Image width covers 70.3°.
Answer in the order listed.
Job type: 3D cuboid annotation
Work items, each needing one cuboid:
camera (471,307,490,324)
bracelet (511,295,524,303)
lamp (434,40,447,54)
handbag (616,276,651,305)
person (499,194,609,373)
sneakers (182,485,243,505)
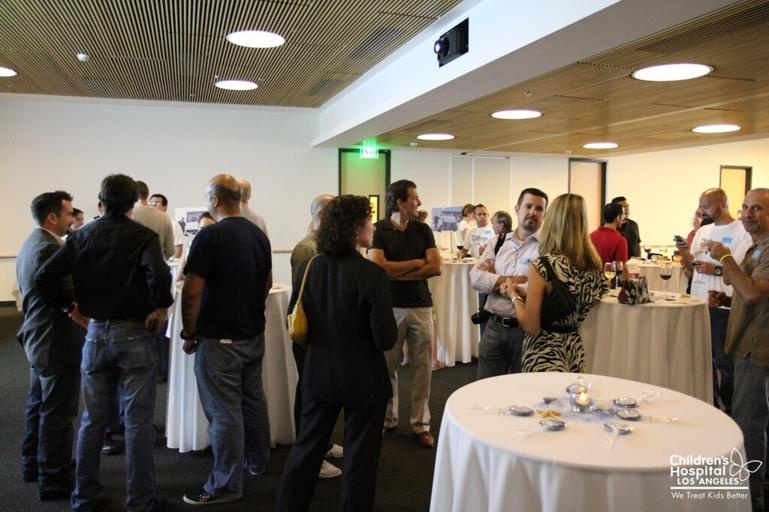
[{"bbox_3d":[0.754,0.500,4.429,0.159,0.095,0.059,-18,-4,32],"label":"camera"},{"bbox_3d":[0.941,0.300,3.864,0.070,0.038,0.080,0,4,4],"label":"bracelet"},{"bbox_3d":[0.590,-2.183,5.769,0.055,0.153,0.196,-1,3,-28],"label":"lamp"},{"bbox_3d":[2.110,0.289,4.537,0.376,0.257,0.191,-1,-5,-30],"label":"handbag"},{"bbox_3d":[1.206,0.191,3.792,0.599,1.225,0.271,0,3,-13],"label":"person"},{"bbox_3d":[-1.322,1.804,4.176,0.390,0.151,0.153,4,-12,-3],"label":"sneakers"}]
